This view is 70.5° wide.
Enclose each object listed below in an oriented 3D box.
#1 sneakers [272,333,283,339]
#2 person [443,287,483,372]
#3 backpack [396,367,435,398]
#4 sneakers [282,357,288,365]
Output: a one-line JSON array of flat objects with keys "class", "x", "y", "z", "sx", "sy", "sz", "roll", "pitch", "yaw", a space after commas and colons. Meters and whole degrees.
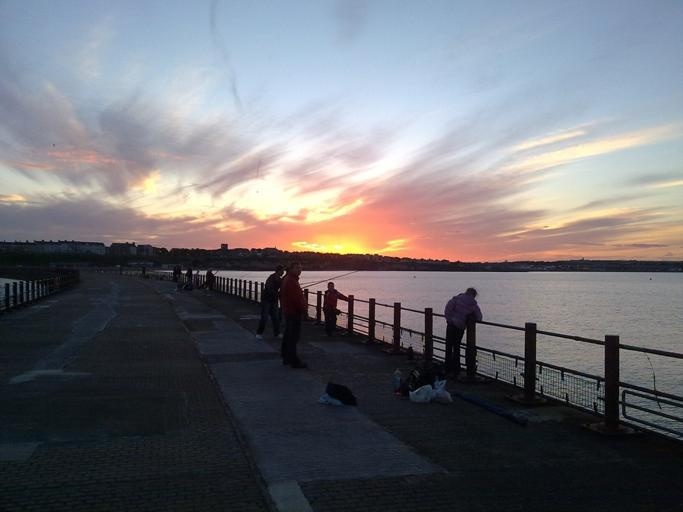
[{"class": "sneakers", "x": -2.078, "y": 2.585, "z": 15.501, "sx": 0.148, "sy": 0.160, "sz": 0.378, "roll": 7, "pitch": -12, "yaw": -43}, {"class": "person", "x": 2.587, "y": 1.579, "z": 10.343, "sx": 0.699, "sy": 1.764, "sz": 1.131, "roll": 1, "pitch": 1, "yaw": 13}, {"class": "backpack", "x": 1.333, "y": 2.155, "z": 8.416, "sx": 0.472, "sy": 0.208, "sz": 0.585, "roll": 7, "pitch": 35, "yaw": 43}, {"class": "sneakers", "x": -1.314, "y": 2.429, "z": 11.122, "sx": 0.141, "sy": 0.245, "sz": 0.137, "roll": 1, "pitch": -2, "yaw": -5}]
